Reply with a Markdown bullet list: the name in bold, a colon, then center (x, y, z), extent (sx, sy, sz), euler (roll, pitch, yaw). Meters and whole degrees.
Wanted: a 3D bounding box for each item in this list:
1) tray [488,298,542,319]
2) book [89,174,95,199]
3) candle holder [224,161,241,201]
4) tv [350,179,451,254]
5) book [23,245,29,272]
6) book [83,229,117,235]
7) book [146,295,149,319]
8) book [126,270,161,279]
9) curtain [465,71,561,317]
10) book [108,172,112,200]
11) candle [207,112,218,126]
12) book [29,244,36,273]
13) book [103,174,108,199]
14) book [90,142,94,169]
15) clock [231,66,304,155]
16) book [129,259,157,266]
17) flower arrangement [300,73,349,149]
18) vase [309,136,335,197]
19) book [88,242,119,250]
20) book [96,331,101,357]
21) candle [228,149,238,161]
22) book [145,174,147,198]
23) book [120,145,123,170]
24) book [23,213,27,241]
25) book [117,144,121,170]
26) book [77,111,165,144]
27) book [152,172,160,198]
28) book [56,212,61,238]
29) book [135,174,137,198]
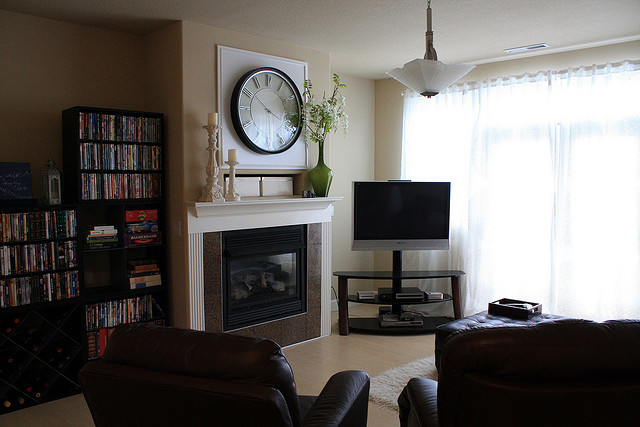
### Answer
- **tray**: center (1.950, 0.937, 4.861), extent (0.426, 0.112, 0.374), euler (1, 3, 38)
- **book**: center (-2.099, -0.253, 4.456), extent (0.043, 0.224, 0.009), euler (-3, 4, -34)
- **candle holder**: center (-0.890, -0.334, 4.872), extent (0.154, 0.399, 0.164), euler (-2, 3, -19)
- **tv**: center (0.971, 0.030, 5.860), extent (1.191, 0.872, 0.150), euler (-1, 3, -3)
- **book**: center (-2.523, 0.381, 4.156), extent (0.035, 0.231, 0.014), euler (-3, 4, -31)
- **book**: center (-2.095, 0.169, 4.606), extent (0.267, 0.046, 0.065), euler (-1, 3, -14)
- **book**: center (-1.723, 0.927, 4.834), extent (0.028, 0.232, 0.019), euler (-2, 3, -20)
- **book**: center (-1.754, 0.598, 4.814), extent (0.303, 0.047, 0.049), euler (-3, 3, -35)
- **curtain**: center (2.289, -0.200, 5.792), extent (1.022, 2.909, 0.209), euler (1, 4, 36)
- **book**: center (-1.969, -0.267, 4.543), extent (0.026, 0.246, 0.036), euler (0, 3, 12)
- **candle**: center (-1.038, -0.908, 4.656), extent (0.088, 0.126, 0.078), euler (-2, 3, -11)
- **book**: center (-2.487, 0.379, 4.180), extent (0.034, 0.319, 0.243), euler (-2, -1, -37)
- **book**: center (-2.001, -0.257, 4.519), extent (0.010, 0.227, 0.042), euler (2, 4, 42)
- **book**: center (-2.100, -0.535, 4.458), extent (0.027, 0.236, 0.018), euler (-2, 4, -24)
- **clock**: center (-0.545, -1.099, 5.176), extent (0.849, 0.893, 0.091), euler (-3, 4, -37)
- **book**: center (-1.772, 0.486, 4.858), extent (0.261, 0.045, 0.142), euler (-2, 3, -21)
- **flower arrangement**: center (0.089, -1.098, 5.428), extent (0.496, 0.845, 0.443), euler (10, 11, 43)
- **vase**: center (-0.004, -0.534, 5.502), extent (0.245, 0.677, 0.254), euler (-2, 3, -17)
- **book**: center (-2.058, 0.300, 4.614), extent (0.272, 0.060, 0.064), euler (-2, 3, -30)
- **book**: center (-2.111, 1.231, 4.612), extent (0.035, 0.246, 0.045), euler (-2, 4, -23)
- **candle**: center (-0.865, -0.587, 4.783), extent (0.108, 0.113, 0.104), euler (-3, 8, -21)
- **book**: center (-1.700, -0.275, 4.730), extent (0.026, 0.225, 0.009), euler (-4, 4, -43)
- **book**: center (-1.882, -0.542, 4.592), extent (0.027, 0.224, 0.010), euler (-4, 5, -45)
- **book**: center (-2.530, 0.107, 4.149), extent (0.028, 0.231, 0.012), euler (-3, 4, -31)
- **book**: center (-1.901, -0.538, 4.582), extent (0.035, 0.230, 0.011), euler (-2, 4, -21)
- **book**: center (-1.883, -0.813, 4.594), extent (0.756, 0.300, 0.075), euler (-2, 4, -31)
- **book**: center (-1.617, -0.284, 4.782), extent (0.066, 0.240, 0.018), euler (-4, 4, -38)
- **book**: center (-2.313, 0.096, 4.284), extent (0.028, 0.222, 0.014), euler (-2, 3, -13)
- **book**: center (-1.777, -0.272, 4.677), extent (0.027, 0.223, 0.009), euler (-4, 5, -43)
